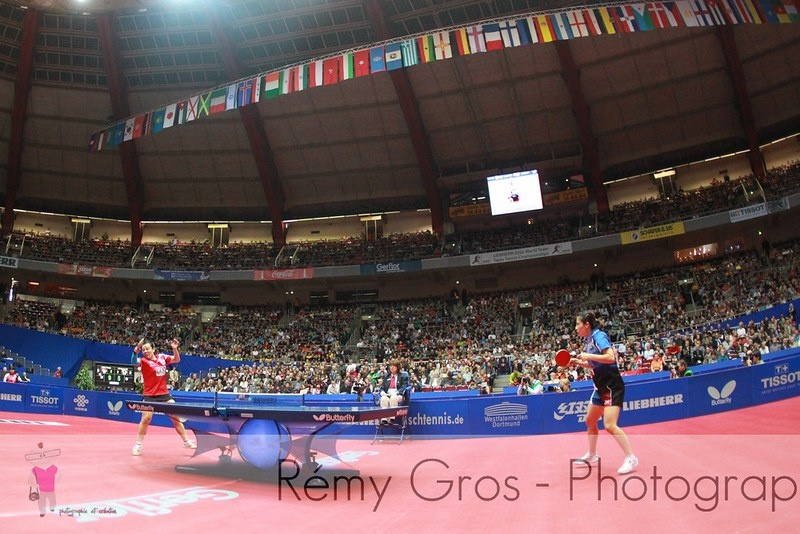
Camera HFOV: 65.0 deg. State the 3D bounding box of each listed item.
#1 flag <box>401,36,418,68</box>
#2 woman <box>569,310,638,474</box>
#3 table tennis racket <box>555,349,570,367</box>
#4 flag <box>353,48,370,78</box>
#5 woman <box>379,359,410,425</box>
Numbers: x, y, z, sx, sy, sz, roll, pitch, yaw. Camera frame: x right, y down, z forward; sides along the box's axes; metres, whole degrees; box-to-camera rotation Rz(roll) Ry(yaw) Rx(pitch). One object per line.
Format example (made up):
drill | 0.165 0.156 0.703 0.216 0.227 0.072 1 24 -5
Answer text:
flag | 0.447 -9.723 28.155 0.768 1.318 0.288 -1 -13 0
woman | 5.188 3.156 15.858 1.225 3.912 1.585 -6 -13 21
table tennis racket | 4.071 2.241 15.653 0.368 0.391 0.468 -4 -13 13
flag | -1.725 -9.307 28.415 0.748 1.205 0.304 -3 -13 9
woman | -0.231 4.135 20.917 0.980 2.013 1.049 0 -15 5
